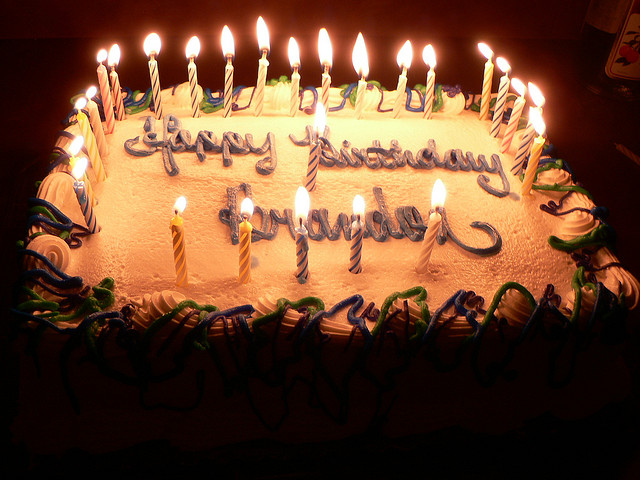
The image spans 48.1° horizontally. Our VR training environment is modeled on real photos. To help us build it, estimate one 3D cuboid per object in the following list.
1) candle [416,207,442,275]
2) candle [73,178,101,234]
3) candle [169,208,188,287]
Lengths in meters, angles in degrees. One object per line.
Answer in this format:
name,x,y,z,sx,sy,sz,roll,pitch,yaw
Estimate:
candle,0.853,0.023,5.595,0.093,0.561,0.104,14,52,5
candle,-1.841,-0.269,5.648,0.156,0.418,0.235,-6,18,-16
candle,-1.045,0.041,5.312,0.095,0.611,0.237,-4,17,-11
